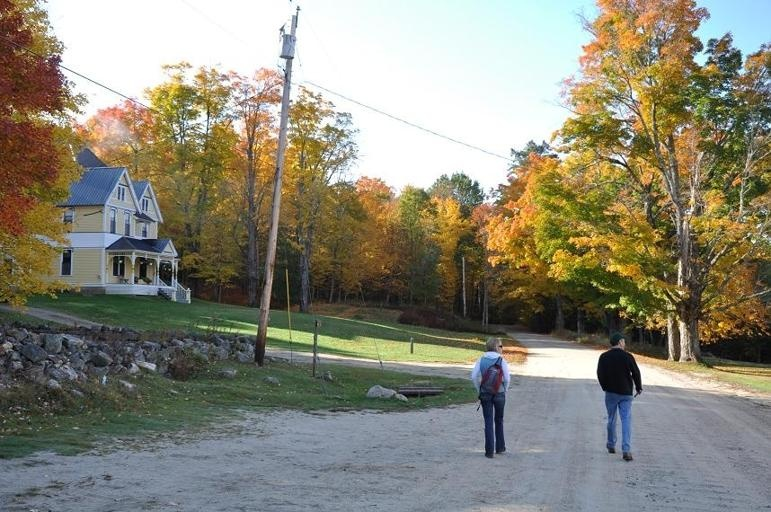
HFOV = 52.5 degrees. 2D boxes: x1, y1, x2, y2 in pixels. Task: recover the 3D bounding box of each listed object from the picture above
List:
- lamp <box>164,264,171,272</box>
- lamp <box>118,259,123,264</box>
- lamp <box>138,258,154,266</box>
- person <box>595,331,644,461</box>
[{"bbox_3d":[-16.485,0.926,59.196,0.560,0.310,0.570,-2,-12,5],"label":"lamp"},{"bbox_3d":[-18.183,0.360,53.765,0.146,0.348,0.548,2,-8,17],"label":"lamp"},{"bbox_3d":[-17.304,0.484,56.462,0.579,0.248,0.706,-2,-11,9],"label":"lamp"},{"bbox_3d":[6.987,4.186,23.531,1.211,3.678,0.657,1,-7,24],"label":"person"}]
